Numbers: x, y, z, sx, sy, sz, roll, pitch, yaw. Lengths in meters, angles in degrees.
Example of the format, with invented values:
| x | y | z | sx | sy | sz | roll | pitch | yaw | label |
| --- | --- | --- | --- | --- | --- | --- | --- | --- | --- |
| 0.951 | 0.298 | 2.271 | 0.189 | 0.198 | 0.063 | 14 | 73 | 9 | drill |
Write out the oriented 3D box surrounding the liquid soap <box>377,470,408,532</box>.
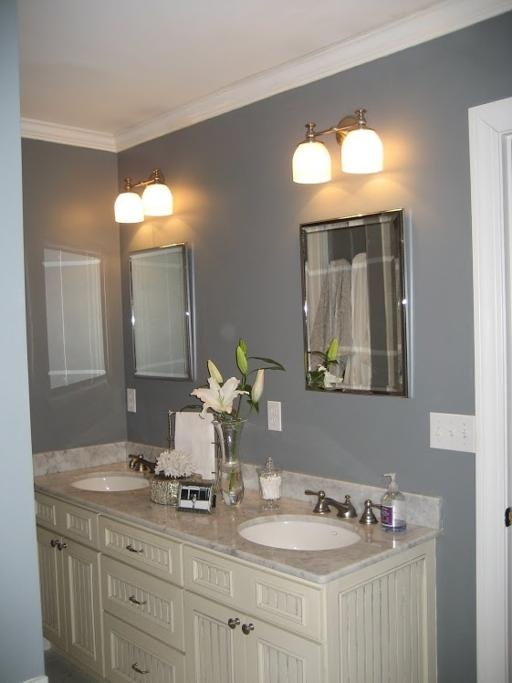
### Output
| x | y | z | sx | sy | sz | roll | pitch | yaw | label |
| --- | --- | --- | --- | --- | --- | --- | --- | --- | --- |
| 0.423 | 0.495 | 1.921 | 0.089 | 0.168 | 0.070 | -1 | 1 | -28 | liquid soap |

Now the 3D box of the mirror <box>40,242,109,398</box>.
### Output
| x | y | z | sx | sy | sz | roll | pitch | yaw | label |
| --- | --- | --- | --- | --- | --- | --- | --- | --- | --- |
| -0.925 | -0.121 | 3.132 | 0.008 | 0.616 | 0.337 | 4 | 7 | 44 | mirror |

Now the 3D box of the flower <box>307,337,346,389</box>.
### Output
| x | y | z | sx | sy | sz | roll | pitch | yaw | label |
| --- | --- | --- | --- | --- | --- | --- | --- | --- | --- |
| 0.248 | 0.072 | 2.263 | 0.150 | 0.164 | 0.165 | 6 | 8 | 40 | flower |

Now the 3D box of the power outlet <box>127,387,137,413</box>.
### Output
| x | y | z | sx | sy | sz | roll | pitch | yaw | label |
| --- | --- | --- | --- | --- | --- | --- | --- | --- | --- |
| -0.670 | 0.311 | 3.287 | 0.021 | 0.136 | 0.113 | -2 | 1 | -34 | power outlet |

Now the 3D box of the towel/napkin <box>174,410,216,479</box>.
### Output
| x | y | z | sx | sy | sz | roll | pitch | yaw | label |
| --- | --- | --- | --- | --- | --- | --- | --- | --- | --- |
| -0.275 | 0.463 | 2.689 | 0.234 | 0.312 | 0.025 | 0 | 0 | 27 | towel/napkin |

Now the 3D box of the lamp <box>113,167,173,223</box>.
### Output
| x | y | z | sx | sy | sz | roll | pitch | yaw | label |
| --- | --- | --- | --- | --- | --- | --- | --- | --- | --- |
| -0.526 | -0.669 | 2.869 | 0.305 | 0.203 | 0.119 | -3 | 2 | 31 | lamp |

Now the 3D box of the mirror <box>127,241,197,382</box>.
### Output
| x | y | z | sx | sy | sz | roll | pitch | yaw | label |
| --- | --- | --- | --- | --- | --- | --- | --- | --- | --- |
| -0.454 | -0.151 | 3.026 | 0.038 | 0.924 | 0.717 | -4 | 3 | -42 | mirror |

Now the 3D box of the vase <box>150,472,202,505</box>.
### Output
| x | y | z | sx | sy | sz | roll | pitch | yaw | label |
| --- | --- | --- | --- | --- | --- | --- | --- | --- | --- |
| -0.341 | 0.562 | 2.383 | 0.133 | 0.065 | 0.133 | -3 | -5 | 41 | vase |

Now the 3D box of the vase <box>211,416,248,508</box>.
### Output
| x | y | z | sx | sy | sz | roll | pitch | yaw | label |
| --- | --- | --- | --- | --- | --- | --- | --- | --- | --- |
| -0.112 | 0.436 | 2.321 | 0.097 | 0.323 | 0.188 | -1 | 1 | -14 | vase |

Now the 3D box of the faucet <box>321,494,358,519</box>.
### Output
| x | y | z | sx | sy | sz | roll | pitch | yaw | label |
| --- | --- | --- | --- | --- | --- | --- | --- | --- | --- |
| 0.285 | 0.563 | 2.128 | 0.052 | 0.063 | 0.128 | 0 | -1 | -29 | faucet |

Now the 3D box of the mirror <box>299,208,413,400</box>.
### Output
| x | y | z | sx | sy | sz | roll | pitch | yaw | label |
| --- | --- | --- | --- | --- | --- | --- | --- | --- | --- |
| 0.320 | -0.130 | 2.128 | 0.424 | 0.569 | 0.027 | -2 | 0 | 41 | mirror |

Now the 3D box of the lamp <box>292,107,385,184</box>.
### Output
| x | y | z | sx | sy | sz | roll | pitch | yaw | label |
| --- | --- | --- | --- | --- | --- | --- | --- | --- | --- |
| 0.262 | -0.632 | 2.023 | 0.326 | 0.202 | 0.126 | 3 | 6 | 40 | lamp |

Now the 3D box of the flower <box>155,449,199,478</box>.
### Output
| x | y | z | sx | sy | sz | roll | pitch | yaw | label |
| --- | --- | --- | --- | --- | --- | --- | --- | --- | --- |
| -0.327 | 0.469 | 2.404 | 0.113 | 0.079 | 0.114 | -1 | 2 | -21 | flower |
